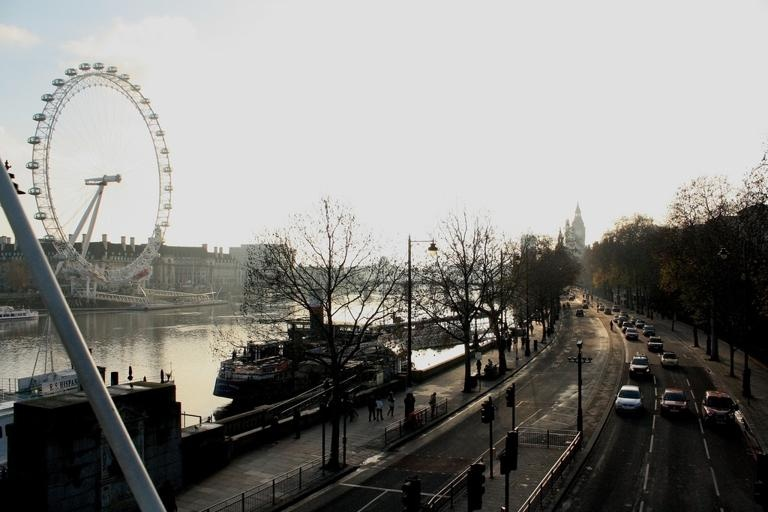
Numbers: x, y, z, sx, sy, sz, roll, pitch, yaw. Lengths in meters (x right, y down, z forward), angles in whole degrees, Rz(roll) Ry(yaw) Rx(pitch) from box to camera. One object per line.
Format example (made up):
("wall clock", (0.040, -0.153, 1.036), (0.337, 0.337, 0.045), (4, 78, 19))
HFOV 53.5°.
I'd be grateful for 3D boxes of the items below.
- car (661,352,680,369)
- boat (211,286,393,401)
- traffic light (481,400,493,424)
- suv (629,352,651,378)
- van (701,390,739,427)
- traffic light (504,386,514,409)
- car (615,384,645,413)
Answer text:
("car", (27.366, 10.000, 72.983), (1.446, 1.424, 1.758), (-2, -1, 24))
("boat", (-7.360, 11.211, 79.488), (20.892, 6.502, 5.093), (-3, 1, -29))
("traffic light", (6.286, 9.497, 46.611), (0.607, 1.211, 1.327), (-1, -1, 10))
("suv", (23.050, 10.073, 68.845), (1.708, 1.827, 1.870), (-2, -1, 14))
("van", (24.441, 11.135, 55.700), (2.033, 2.416, 2.044), (-1, -1, 4))
("traffic light", (7.964, 8.827, 48.209), (0.369, 1.243, 1.286), (-1, -1, 17))
("car", (18.949, 11.203, 59.270), (1.908, 1.812, 2.458), (-2, -1, 15))
